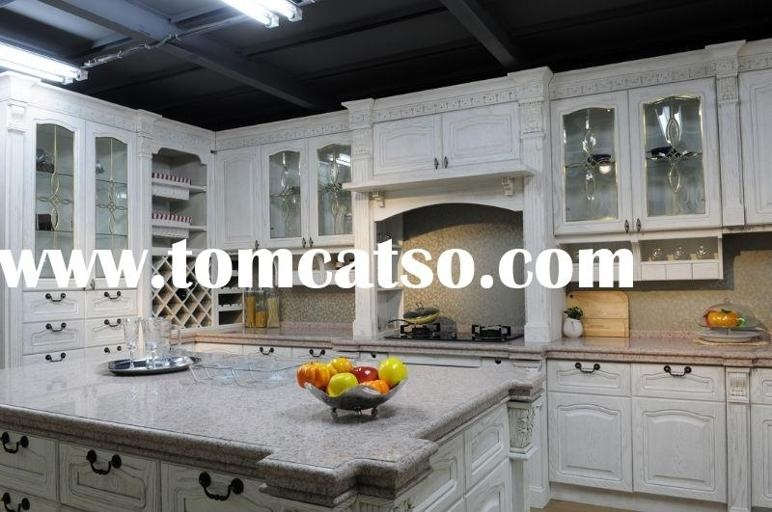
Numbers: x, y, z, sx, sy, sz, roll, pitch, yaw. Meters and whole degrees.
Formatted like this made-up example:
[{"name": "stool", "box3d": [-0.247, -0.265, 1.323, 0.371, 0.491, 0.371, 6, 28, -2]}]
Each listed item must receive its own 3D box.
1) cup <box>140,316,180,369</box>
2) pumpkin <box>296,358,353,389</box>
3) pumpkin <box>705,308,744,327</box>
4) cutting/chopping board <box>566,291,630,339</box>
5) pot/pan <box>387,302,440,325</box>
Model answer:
[{"name": "cup", "box3d": [-1.420, 0.522, 3.693, 0.172, 0.299, 0.272, -2, 5, -21]}, {"name": "pumpkin", "box3d": [-0.286, 0.557, 2.834, 0.259, 0.126, 0.212, 0, 5, -4]}, {"name": "pumpkin", "box3d": [2.546, 0.472, 4.511, 0.168, 0.094, 0.167, -5, 6, -1]}, {"name": "cutting/chopping board", "box3d": [1.820, 0.505, 5.026, 0.411, 0.335, 0.070, 0, 0, 24]}, {"name": "pot/pan", "box3d": [0.258, 0.530, 5.293, 0.335, 0.109, 0.223, -14, 3, 40]}]
